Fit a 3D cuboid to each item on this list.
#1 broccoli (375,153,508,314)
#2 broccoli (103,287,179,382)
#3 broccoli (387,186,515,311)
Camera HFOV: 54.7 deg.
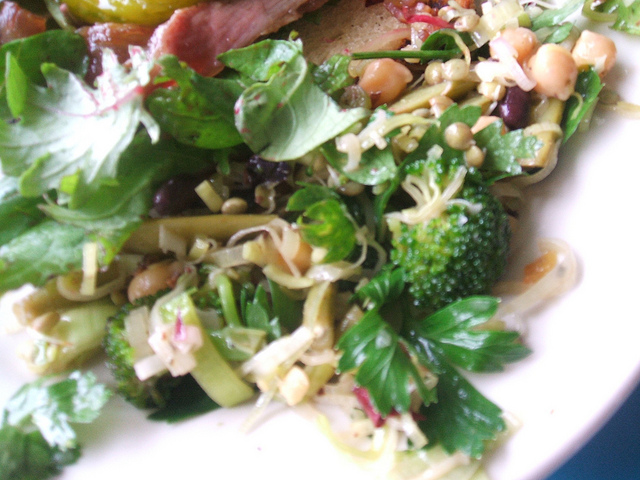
[{"bbox_3d":[0.266,-0.016,1.289,0.292,0.285,0.173,-2,32,36],"label":"broccoli"},{"bbox_3d":[-0.433,0.210,1.475,0.084,0.246,0.183,-37,36,-20],"label":"broccoli"},{"bbox_3d":[0.282,0.033,1.300,0.269,0.211,0.171,-15,52,-4],"label":"broccoli"}]
